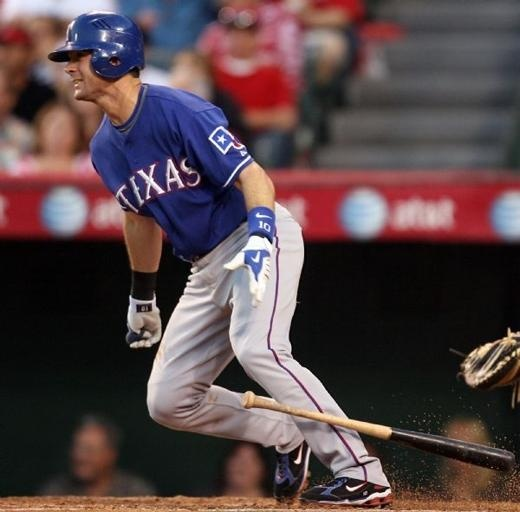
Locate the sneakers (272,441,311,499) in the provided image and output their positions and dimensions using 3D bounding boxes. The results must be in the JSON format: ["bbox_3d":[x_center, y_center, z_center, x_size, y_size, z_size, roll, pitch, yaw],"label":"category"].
[{"bbox_3d":[0.141,0.862,4.298,0.095,0.269,0.121,-9,-28,39],"label":"sneakers"}]

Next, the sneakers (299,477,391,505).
[{"bbox_3d":[0.310,0.856,3.943,0.319,0.137,0.115,2,-12,5],"label":"sneakers"}]

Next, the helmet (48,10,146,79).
[{"bbox_3d":[-0.588,-0.781,4.036,0.382,0.249,0.261,-2,8,-9],"label":"helmet"}]

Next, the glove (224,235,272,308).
[{"bbox_3d":[-0.040,0.024,3.755,0.169,0.247,0.082,29,-46,-25],"label":"glove"}]

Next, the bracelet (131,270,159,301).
[{"bbox_3d":[-0.471,0.120,4.433,0.116,0.119,0.115,0,7,-32],"label":"bracelet"}]

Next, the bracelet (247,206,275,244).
[{"bbox_3d":[-0.010,-0.117,3.853,0.115,0.118,0.119,7,-3,-19],"label":"bracelet"}]

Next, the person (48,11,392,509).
[{"bbox_3d":[-0.171,0.073,4.044,1.369,1.806,0.550,21,35,37],"label":"person"}]
